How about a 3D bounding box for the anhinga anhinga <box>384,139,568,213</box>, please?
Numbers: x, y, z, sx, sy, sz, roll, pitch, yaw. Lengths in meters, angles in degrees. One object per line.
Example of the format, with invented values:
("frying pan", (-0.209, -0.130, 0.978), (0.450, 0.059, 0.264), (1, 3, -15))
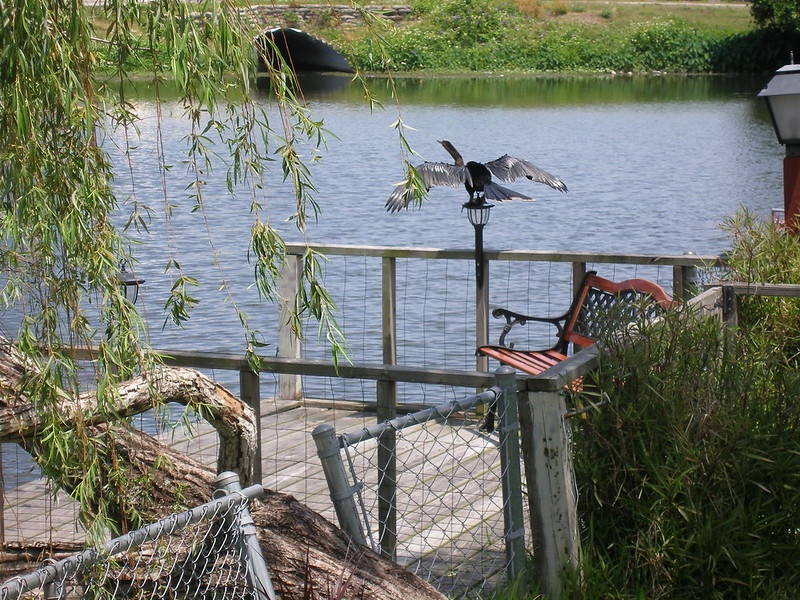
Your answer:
("anhinga anhinga", (0.499, -0.829, 11.005), (1.318, 0.559, 1.170), (-5, 3, 24))
